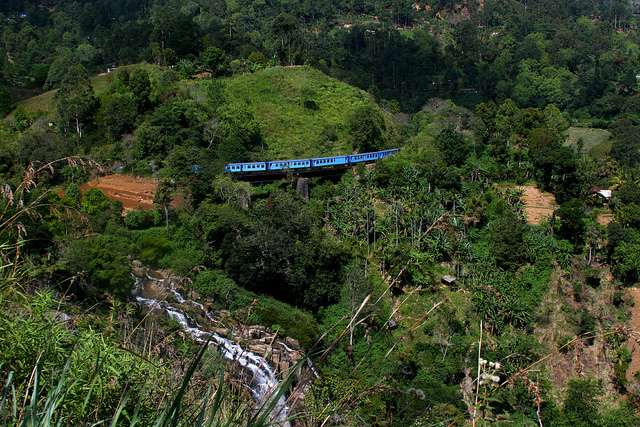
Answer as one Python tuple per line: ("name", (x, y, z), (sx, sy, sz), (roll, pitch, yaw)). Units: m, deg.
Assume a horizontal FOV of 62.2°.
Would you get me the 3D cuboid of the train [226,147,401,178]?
("train", (-1.316, -6.157, 66.670), (20.227, 1.912, 1.323), (-10, 13, -24))
